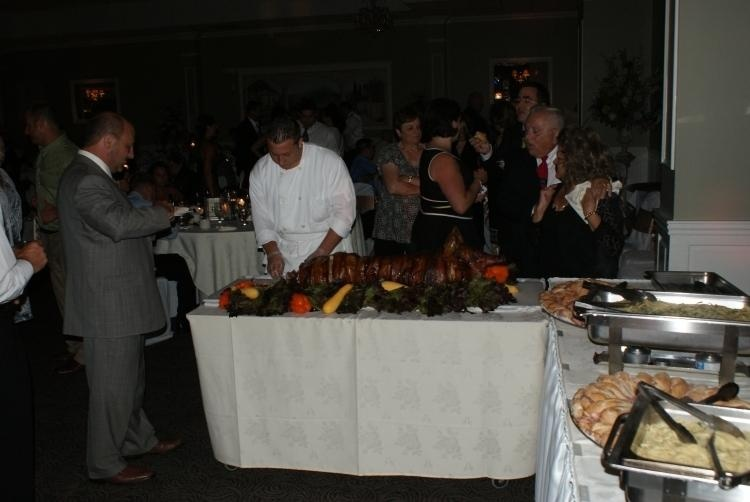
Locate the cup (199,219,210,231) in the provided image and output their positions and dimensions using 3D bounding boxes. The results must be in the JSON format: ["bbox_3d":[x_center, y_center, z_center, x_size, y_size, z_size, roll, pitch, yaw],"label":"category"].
[{"bbox_3d":[-1.558,-0.241,5.049,0.104,0.088,0.105,2,13,0],"label":"cup"}]

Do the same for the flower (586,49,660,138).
[{"bbox_3d":[3.500,-2.133,7.883,0.979,1.304,0.289,5,7,18],"label":"flower"}]

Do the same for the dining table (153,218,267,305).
[{"bbox_3d":[-1.388,0.026,4.857,0.772,0.446,0.770,-4,7,-13],"label":"dining table"}]

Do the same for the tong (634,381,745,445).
[{"bbox_3d":[0.910,0.448,1.656,0.119,0.038,0.209,-21,28,-16],"label":"tong"}]

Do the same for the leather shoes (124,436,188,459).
[{"bbox_3d":[-1.353,1.184,3.419,0.322,0.143,0.110,-11,20,-14],"label":"leather shoes"}]
